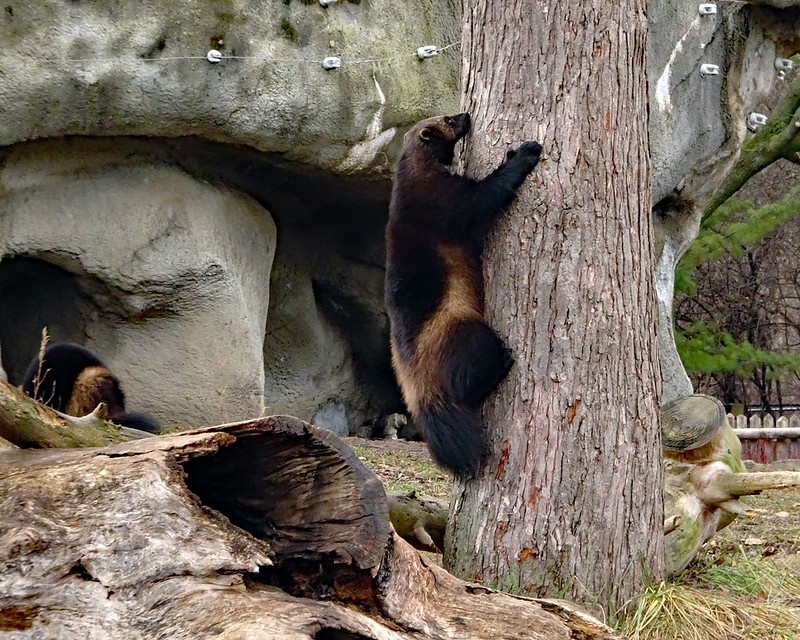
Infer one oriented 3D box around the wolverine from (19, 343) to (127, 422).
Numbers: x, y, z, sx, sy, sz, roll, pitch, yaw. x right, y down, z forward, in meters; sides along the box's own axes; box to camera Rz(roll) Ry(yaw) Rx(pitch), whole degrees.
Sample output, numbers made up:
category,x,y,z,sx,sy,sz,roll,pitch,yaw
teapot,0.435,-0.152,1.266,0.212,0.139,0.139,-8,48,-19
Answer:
category,x,y,z,sx,sy,sz,roll,pitch,yaw
wolverine,-2.921,0.505,16.903,0.900,0.541,0.592,10,17,23
